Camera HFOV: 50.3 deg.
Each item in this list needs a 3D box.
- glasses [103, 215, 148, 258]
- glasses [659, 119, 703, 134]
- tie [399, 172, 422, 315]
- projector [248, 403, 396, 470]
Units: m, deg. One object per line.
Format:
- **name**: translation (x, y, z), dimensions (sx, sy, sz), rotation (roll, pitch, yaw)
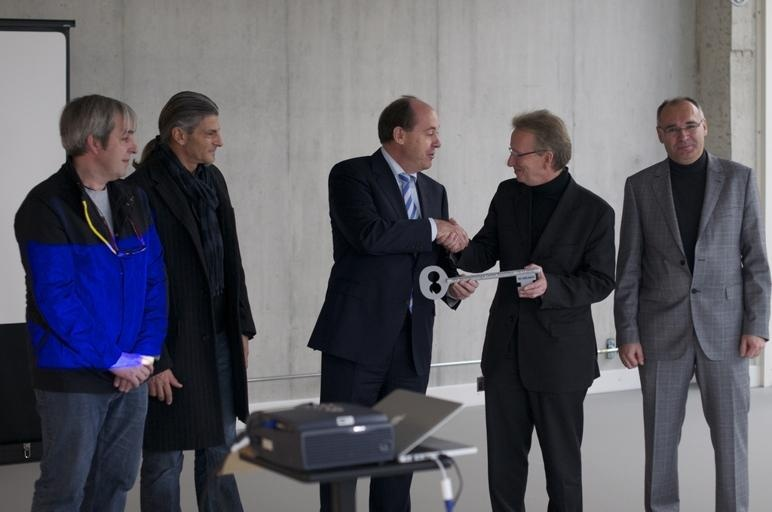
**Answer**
- **glasses**: translation (-1.422, -0.091, 4.433), dimensions (0.148, 0.213, 0.073), rotation (-36, 6, -33)
- **glasses**: translation (1.794, -0.784, 5.011), dimensions (0.227, 0.066, 0.068), rotation (-1, 4, 19)
- **tie**: translation (0.104, -0.069, 5.053), dimensions (0.108, 0.859, 0.124), rotation (-3, 19, -25)
- **projector**: translation (-0.275, 0.764, 3.651), dimensions (0.434, 0.266, 0.574), rotation (-3, 8, -41)
